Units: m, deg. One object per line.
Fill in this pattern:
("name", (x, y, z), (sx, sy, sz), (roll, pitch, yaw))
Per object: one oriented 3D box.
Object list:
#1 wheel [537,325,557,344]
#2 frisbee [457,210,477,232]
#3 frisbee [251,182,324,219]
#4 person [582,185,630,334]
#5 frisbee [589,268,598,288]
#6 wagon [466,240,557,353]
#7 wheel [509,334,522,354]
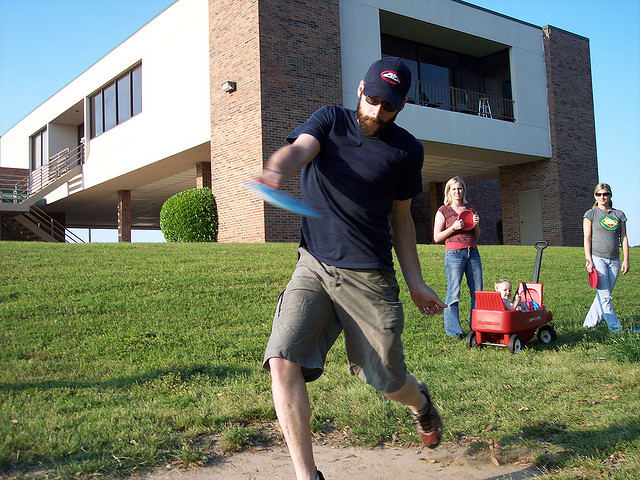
("wheel", (3.271, 1.366, 8.694), (0.259, 0.258, 0.095), (-8, -8, 35))
("frisbee", (2.147, -0.282, 8.837), (0.249, 0.297, 0.219), (-4, 14, -19))
("frisbee", (-0.235, -0.277, 4.252), (0.469, 0.274, 0.170), (-9, 17, -36))
("person", (4.351, 0.279, 9.215), (0.693, 2.214, 1.047), (6, 15, 23))
("frisbee", (4.164, 0.584, 9.170), (0.120, 0.322, 0.248), (6, 14, 20))
("wagon", (2.878, 0.796, 8.716), (1.716, 1.466, 0.760), (-4, 4, -44))
("wheel", (2.648, 1.383, 8.097), (0.287, 0.212, 0.118), (-10, 17, -39))
